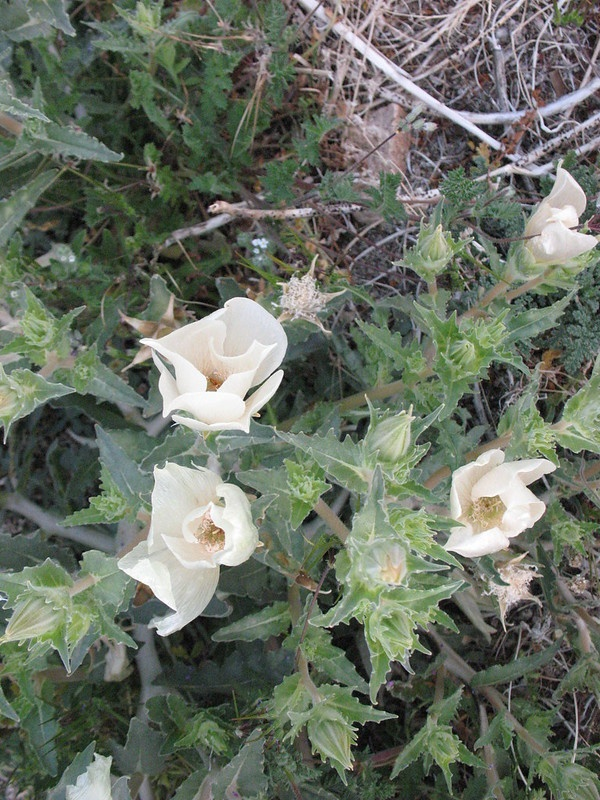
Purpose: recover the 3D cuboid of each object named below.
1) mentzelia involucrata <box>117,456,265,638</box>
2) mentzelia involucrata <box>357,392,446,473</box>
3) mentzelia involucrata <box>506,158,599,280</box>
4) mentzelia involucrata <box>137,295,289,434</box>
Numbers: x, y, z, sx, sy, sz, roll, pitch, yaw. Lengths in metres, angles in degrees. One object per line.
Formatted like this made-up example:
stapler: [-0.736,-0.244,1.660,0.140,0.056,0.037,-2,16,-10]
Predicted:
mentzelia involucrata: [-0.208,0.331,1.672,0.222,0.364,0.414,-11,85,-63]
mentzelia involucrata: [0.210,0.093,1.639,0.172,0.183,0.157,-15,59,-8]
mentzelia involucrata: [0.690,-0.445,1.890,0.188,0.287,0.227,28,53,0]
mentzelia involucrata: [-0.178,-0.105,1.728,0.340,0.318,0.179,44,39,-48]
